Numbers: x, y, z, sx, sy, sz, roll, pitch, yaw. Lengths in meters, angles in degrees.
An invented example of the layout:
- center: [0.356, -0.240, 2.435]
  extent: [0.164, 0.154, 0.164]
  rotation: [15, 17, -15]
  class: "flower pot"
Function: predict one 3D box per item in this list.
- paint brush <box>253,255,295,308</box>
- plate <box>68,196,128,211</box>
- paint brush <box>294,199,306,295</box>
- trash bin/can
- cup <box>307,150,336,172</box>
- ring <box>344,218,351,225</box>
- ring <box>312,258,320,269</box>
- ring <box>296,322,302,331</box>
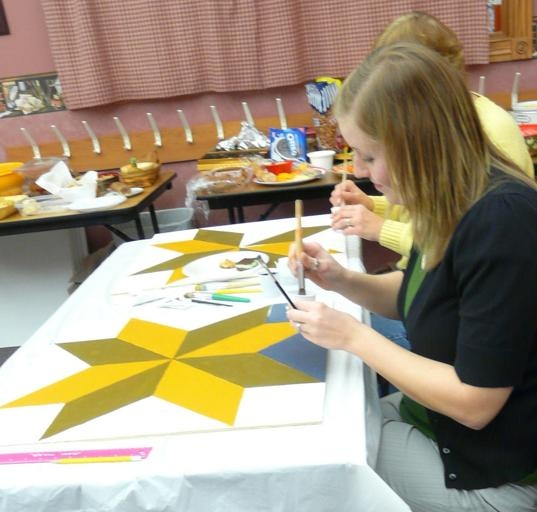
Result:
- center: [0.011, 0.049, 1.178]
  extent: [0.038, 0.013, 0.255]
  rotation: [2, 17, -21]
  class: "paint brush"
- center: [-0.758, -0.233, 2.291]
  extent: [0.244, 0.046, 0.119]
  rotation: [-15, 24, -14]
  class: "plate"
- center: [0.067, -0.023, 1.097]
  extent: [0.028, 0.210, 0.021]
  rotation: [-4, -9, -1]
  class: "paint brush"
- center: [-0.657, -0.205, 3.011]
  extent: [0.453, 0.144, 0.258]
  rotation: [-6, 19, -8]
  class: "trash bin/can"
- center: [0.251, -0.451, 2.413]
  extent: [0.129, 0.070, 0.113]
  rotation: [5, 23, 16]
  class: "cup"
- center: [0.242, -0.107, 1.574]
  extent: [0.018, 0.016, 0.017]
  rotation: [20, 32, -13]
  class: "ring"
- center: [0.108, 0.017, 1.171]
  extent: [0.017, 0.018, 0.018]
  rotation: [3, 37, -2]
  class: "ring"
- center: [0.061, 0.130, 0.961]
  extent: [0.015, 0.012, 0.014]
  rotation: [-4, 18, 1]
  class: "ring"
